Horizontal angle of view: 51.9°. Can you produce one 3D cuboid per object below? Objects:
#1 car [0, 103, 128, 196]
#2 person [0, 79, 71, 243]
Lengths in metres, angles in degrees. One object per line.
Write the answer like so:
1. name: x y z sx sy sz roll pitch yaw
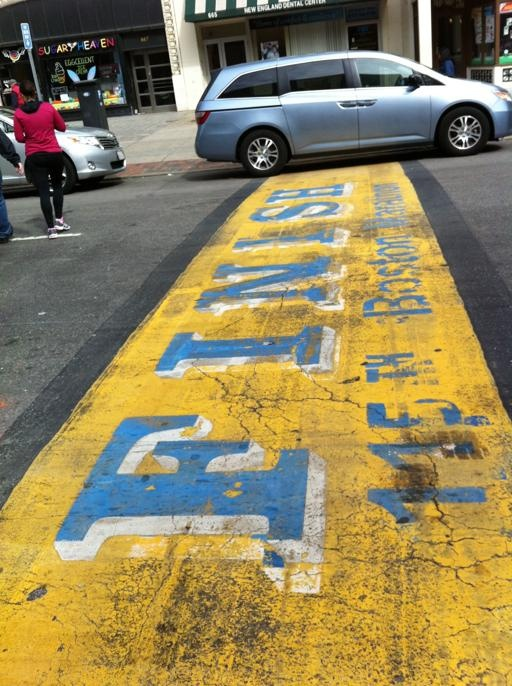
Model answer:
1. car: -4.915 -4.334 11.868 3.796 1.523 1.749 0 25 0
2. person: -3.161 -2.792 7.986 0.762 2.127 1.447 -16 28 -13
